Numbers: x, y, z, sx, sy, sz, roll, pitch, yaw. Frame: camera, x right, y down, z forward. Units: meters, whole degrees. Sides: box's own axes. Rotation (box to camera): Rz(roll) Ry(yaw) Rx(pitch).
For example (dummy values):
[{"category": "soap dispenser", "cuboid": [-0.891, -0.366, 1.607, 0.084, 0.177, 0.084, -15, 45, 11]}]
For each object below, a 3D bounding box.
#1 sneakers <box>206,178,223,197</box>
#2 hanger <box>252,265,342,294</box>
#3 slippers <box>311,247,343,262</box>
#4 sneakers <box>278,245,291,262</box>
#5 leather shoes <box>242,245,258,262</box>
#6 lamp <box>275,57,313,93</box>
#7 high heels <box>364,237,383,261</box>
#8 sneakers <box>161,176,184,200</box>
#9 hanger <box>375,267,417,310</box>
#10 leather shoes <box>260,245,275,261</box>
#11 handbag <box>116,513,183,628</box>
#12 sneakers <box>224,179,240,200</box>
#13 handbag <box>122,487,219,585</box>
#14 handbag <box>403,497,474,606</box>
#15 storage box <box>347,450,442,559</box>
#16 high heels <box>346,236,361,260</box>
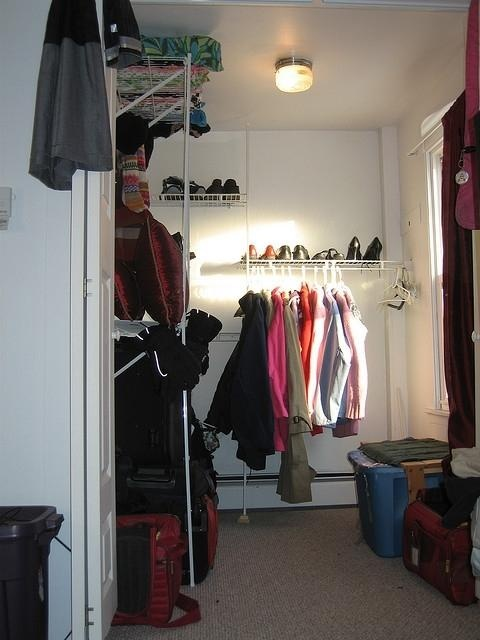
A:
[{"category": "sneakers", "cuboid": [-0.155, -0.806, 3.372, 0.102, 0.107, 0.192, -3, 0, -2]}, {"category": "hanger", "cuboid": [0.364, -0.281, 3.625, 0.615, 0.179, 0.569, -4, 0, 13]}, {"category": "slippers", "cuboid": [0.564, -0.403, 3.517, 0.138, 0.085, 0.102, 2, -1, -13]}, {"category": "sneakers", "cuboid": [0.291, -0.425, 3.509, 0.098, 0.098, 0.088, -3, 0, -4]}, {"category": "leather shoes", "cuboid": [0.062, -0.431, 3.527, 0.106, 0.115, 0.227, -3, 0, 0]}, {"category": "lamp", "cuboid": [0.308, -1.349, 3.052, 0.219, 0.183, 0.199, -4, 0, 3]}, {"category": "high heels", "cuboid": [0.867, -0.445, 3.599, 0.072, 0.095, 0.247, 3, 49, 18]}, {"category": "sneakers", "cuboid": [-0.391, -0.776, 3.202, 0.115, 0.140, 0.305, -3, 0, -5]}, {"category": "hanger", "cuboid": [1.026, -0.181, 3.613, 0.177, 0.435, 0.320, -1, 2, 5]}, {"category": "leather shoes", "cuboid": [0.189, -0.434, 3.538, 0.125, 0.096, 0.076, -4, 0, -44]}, {"category": "handbag", "cuboid": [-0.299, 0.918, 2.063, 0.219, 0.372, 0.326, 0, -6, -3]}, {"category": "sneakers", "cuboid": [-0.047, -0.796, 3.391, 0.072, 0.135, 0.135, 1, -2, -4]}, {"category": "handbag", "cuboid": [-0.282, 0.918, 2.406, 0.266, 0.497, 0.404, -1, 1, 4]}, {"category": "handbag", "cuboid": [0.801, 0.949, 2.266, 0.194, 0.346, 0.325, 1, -3, -3]}, {"category": "storage box", "cuboid": [0.773, 0.841, 2.735, 0.308, 0.412, 0.429, -1, -2, -12]}, {"category": "high heels", "cuboid": [0.743, -0.449, 3.572, 0.059, 0.088, 0.220, 2, 41, 9]}]
